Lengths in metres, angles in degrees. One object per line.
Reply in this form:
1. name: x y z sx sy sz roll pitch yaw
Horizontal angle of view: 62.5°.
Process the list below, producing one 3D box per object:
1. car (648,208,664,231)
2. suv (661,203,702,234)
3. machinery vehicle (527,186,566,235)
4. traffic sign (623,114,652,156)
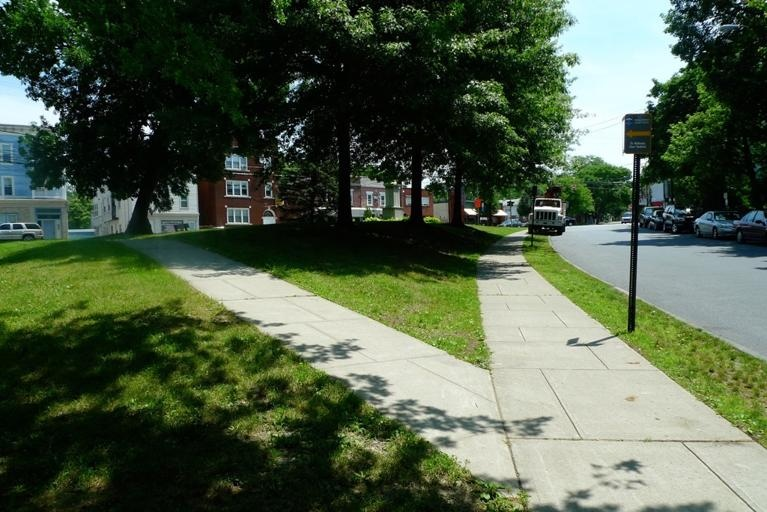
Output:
1. car: 22.107 -2.907 50.762 1.166 1.140 2.574 -1 -1 9
2. suv: 21.061 -2.509 44.907 1.571 1.434 3.507 -1 -2 16
3. machinery vehicle: 10.417 -2.732 41.222 2.111 2.414 4.363 -1 -1 18
4. traffic sign: 5.026 -2.431 12.592 0.498 0.831 0.341 3 6 18
